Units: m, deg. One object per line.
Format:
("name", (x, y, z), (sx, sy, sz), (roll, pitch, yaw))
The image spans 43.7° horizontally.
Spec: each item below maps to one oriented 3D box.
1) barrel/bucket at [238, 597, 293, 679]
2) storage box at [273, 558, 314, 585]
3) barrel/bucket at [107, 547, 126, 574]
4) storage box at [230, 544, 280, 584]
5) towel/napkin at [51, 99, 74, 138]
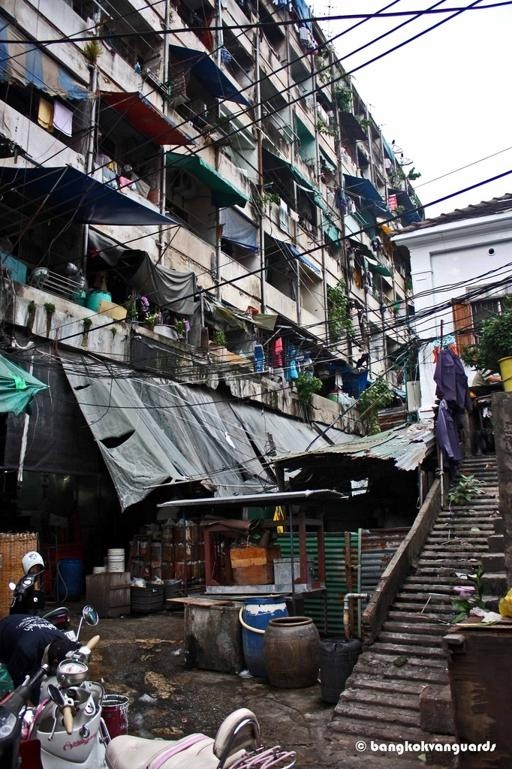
("barrel/bucket", (0.254, 3.363, 8.484), (0.831, 1.102, 0.869), (2, -22, 1))
("storage box", (0.504, 2.715, 9.244), (0.500, 0.311, 0.488), (4, -11, -9))
("barrel/bucket", (-2.971, 3.730, 13.586), (0.507, 0.560, 0.507), (0, -14, 0))
("storage box", (-0.035, 2.711, 9.703), (0.569, 0.367, 0.586), (-3, -8, 12))
("towel/napkin", (-4.356, -6.032, 14.429), (0.254, 0.694, 0.688), (-9, 6, 20))
